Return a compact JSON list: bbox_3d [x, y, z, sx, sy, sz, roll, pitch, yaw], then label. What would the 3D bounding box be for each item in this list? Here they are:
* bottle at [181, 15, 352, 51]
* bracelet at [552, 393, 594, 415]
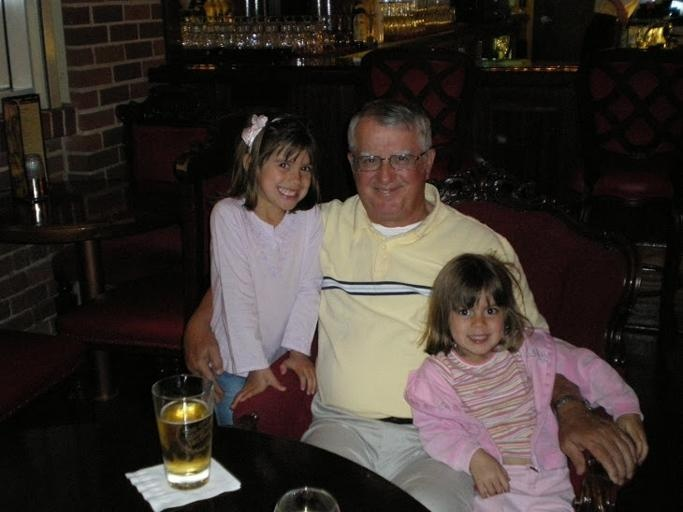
[{"bbox_3d":[-0.770,-1.970,5.149,1.261,0.303,0.199,-3,14,-18],"label":"bottle"},{"bbox_3d":[0.668,0.424,1.713,0.129,0.055,0.044,0,5,42],"label":"bracelet"}]
